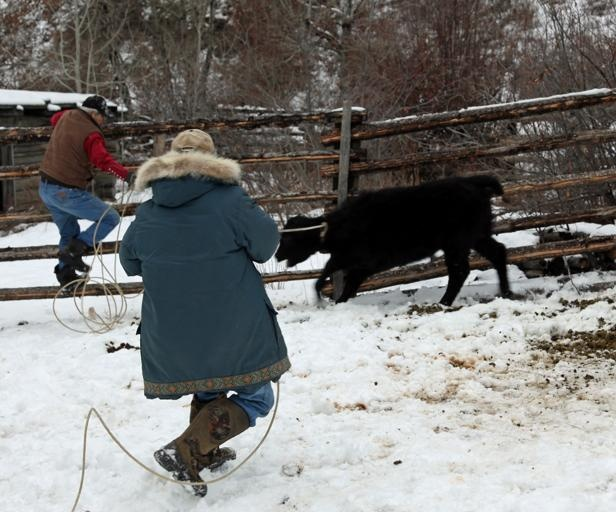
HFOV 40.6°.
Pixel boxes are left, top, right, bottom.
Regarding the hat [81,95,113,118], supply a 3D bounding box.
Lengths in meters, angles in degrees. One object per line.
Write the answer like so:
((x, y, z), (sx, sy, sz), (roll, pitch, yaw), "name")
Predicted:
((-2.519, -1.754, 10.008), (0.219, 0.191, 0.320), (19, 0, 30), "hat")

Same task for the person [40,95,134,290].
((-2.693, -0.719, 9.880), (1.019, 2.287, 0.625), (-2, 8, -3), "person")

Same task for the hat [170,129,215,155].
((-1.042, -1.004, 7.519), (0.312, 0.274, 0.229), (-7, 6, -45), "hat")

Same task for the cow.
((0.786, -0.107, 7.452), (1.935, 1.194, 0.933), (1, 8, 13), "cow")

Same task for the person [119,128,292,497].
((-0.894, 0.615, 7.377), (1.334, 3.048, 0.482), (-2, 7, -3), "person")
